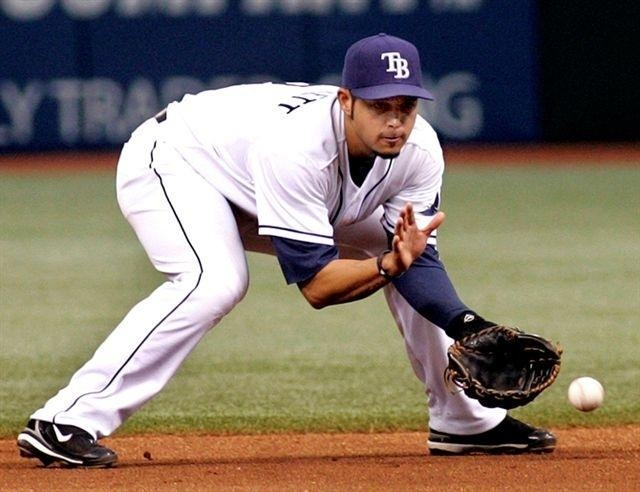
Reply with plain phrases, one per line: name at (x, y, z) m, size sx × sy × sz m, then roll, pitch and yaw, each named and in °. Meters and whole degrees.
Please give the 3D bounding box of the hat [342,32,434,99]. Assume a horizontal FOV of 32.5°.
hat at (0.347, -0.968, 5.934) m, size 0.455 × 0.314 × 0.589 m, roll -4°, pitch 21°, yaw -15°

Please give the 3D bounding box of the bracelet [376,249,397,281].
bracelet at (0.348, 0.116, 5.817) m, size 0.112 × 0.130 × 0.040 m, roll 15°, pitch -18°, yaw -34°

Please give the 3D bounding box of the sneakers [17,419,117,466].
sneakers at (-1.358, 1.063, 6.052) m, size 0.552 × 0.293 × 0.209 m, roll 11°, pitch 25°, yaw -15°

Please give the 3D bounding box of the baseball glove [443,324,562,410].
baseball glove at (0.936, 0.649, 5.808) m, size 0.580 × 0.396 × 0.273 m, roll 2°, pitch -13°, yaw -4°

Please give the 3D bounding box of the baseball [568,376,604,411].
baseball at (1.481, 0.851, 6.264) m, size 0.192 × 0.182 × 0.182 m, roll 18°, pitch 53°, yaw -12°
